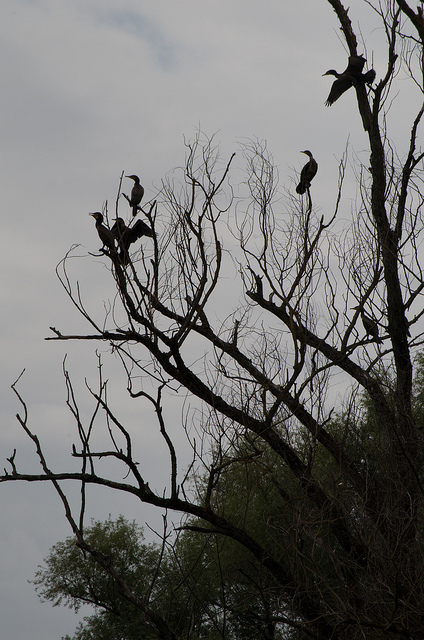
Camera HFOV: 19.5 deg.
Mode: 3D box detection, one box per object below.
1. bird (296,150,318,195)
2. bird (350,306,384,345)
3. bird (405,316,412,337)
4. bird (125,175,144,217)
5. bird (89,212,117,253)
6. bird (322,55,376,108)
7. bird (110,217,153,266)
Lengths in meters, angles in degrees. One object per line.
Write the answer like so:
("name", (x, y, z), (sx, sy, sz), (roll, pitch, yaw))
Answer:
("bird", (1.306, -2.084, 17.021), (0.158, 0.522, 0.563), (-2, -14, -12))
("bird", (2.153, 0.078, 17.203), (0.286, 0.583, 0.629), (-8, -29, 8))
("bird", (2.214, 0.077, 14.091), (0.090, 0.253, 0.060), (5, -8, 27))
("bird", (-1.017, -1.688, 16.407), (0.149, 0.481, 0.612), (1, -11, -5))
("bird", (-1.370, -1.161, 16.041), (0.499, 0.455, 0.173), (15, 13, 29))
("bird", (1.964, -3.491, 17.708), (0.746, 0.816, 0.285), (4, -26, -17))
("bird", (-1.030, -1.046, 15.842), (0.522, 0.691, 0.338), (-3, -26, -4))
